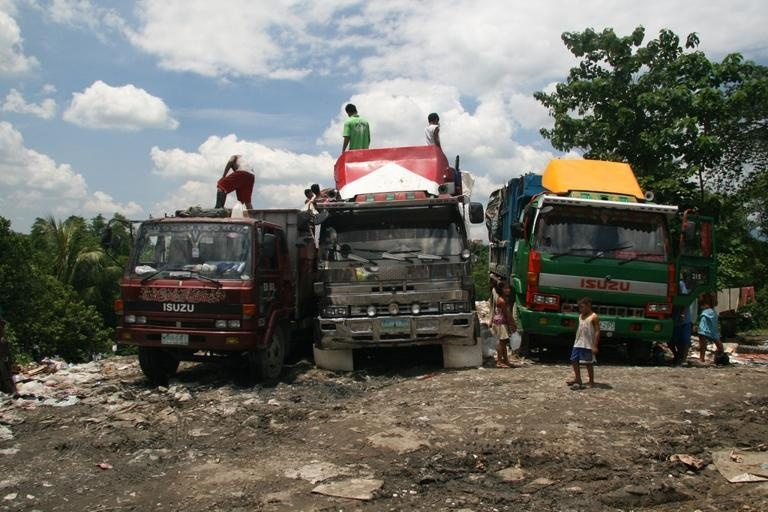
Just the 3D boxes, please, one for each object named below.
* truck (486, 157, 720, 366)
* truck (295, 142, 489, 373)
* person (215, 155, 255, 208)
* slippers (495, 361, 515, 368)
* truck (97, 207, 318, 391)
[{"bbox_3d":[5.365,0.063,16.778,5.018,4.037,8.445,5,-1,2],"label":"truck"},{"bbox_3d":[2.055,-0.146,15.853,4.238,4.637,8.291,-4,0,28],"label":"truck"},{"bbox_3d":[-3.595,-1.742,14.032,0.712,1.241,1.009,-3,11,-2],"label":"person"},{"bbox_3d":[2.657,2.377,12.849,0.451,0.168,0.142,0,0,6],"label":"slippers"},{"bbox_3d":[-3.217,0.792,14.601,3.972,3.286,6.579,1,-2,12],"label":"truck"}]
